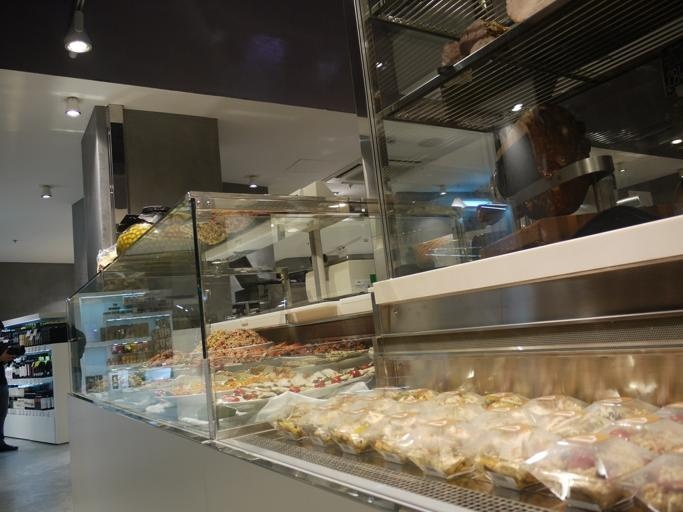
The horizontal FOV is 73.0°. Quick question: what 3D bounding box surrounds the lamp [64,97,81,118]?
[{"bbox_3d":[-1.913,-1.062,3.287,0.115,0.099,0.106,-2,-10,5],"label":"lamp"}]
